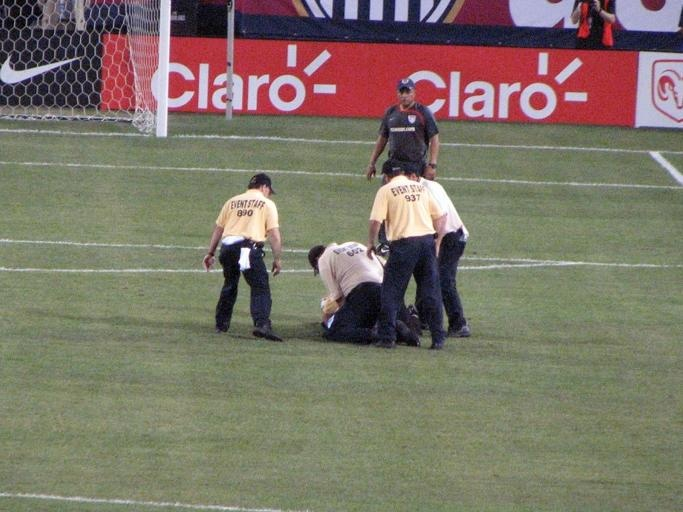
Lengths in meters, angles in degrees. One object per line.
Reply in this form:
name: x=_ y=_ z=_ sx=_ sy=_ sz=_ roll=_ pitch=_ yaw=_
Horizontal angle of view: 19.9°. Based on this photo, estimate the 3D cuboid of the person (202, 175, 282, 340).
person: x=-1.427 y=-0.016 z=30.156 sx=1.217 sy=2.482 sz=0.744 roll=3 pitch=6 yaw=9

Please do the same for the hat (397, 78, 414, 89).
hat: x=1.147 y=-2.856 z=32.301 sx=0.284 sy=0.201 sz=0.443 roll=0 pitch=2 yaw=6

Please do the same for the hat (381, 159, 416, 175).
hat: x=0.978 y=-1.385 z=30.099 sx=0.489 sy=0.194 sz=0.298 roll=6 pitch=4 yaw=-11

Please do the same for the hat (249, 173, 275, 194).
hat: x=-1.196 y=-1.122 z=30.334 sx=0.303 sy=0.236 sz=0.413 roll=12 pitch=9 yaw=40

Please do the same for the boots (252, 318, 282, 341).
boots: x=-1.096 y=1.135 z=29.925 sx=0.478 sy=0.298 sz=0.196 roll=5 pitch=6 yaw=20

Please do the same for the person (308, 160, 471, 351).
person: x=1.040 y=-0.002 z=29.851 sx=1.232 sy=2.781 sz=0.475 roll=3 pitch=6 yaw=1
